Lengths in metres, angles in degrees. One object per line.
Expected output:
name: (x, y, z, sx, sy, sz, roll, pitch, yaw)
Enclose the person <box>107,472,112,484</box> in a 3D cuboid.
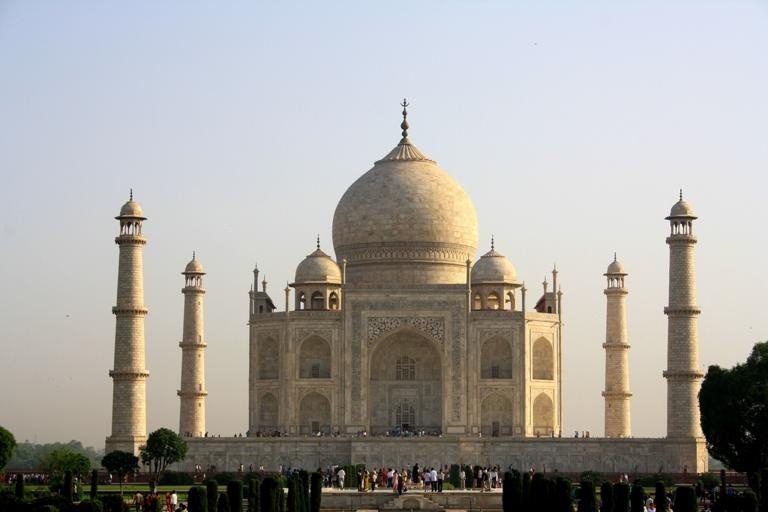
person: (-13.415, 10.805, 97.051, 0.235, 0.477, 0.832, 3, -15, -9)
